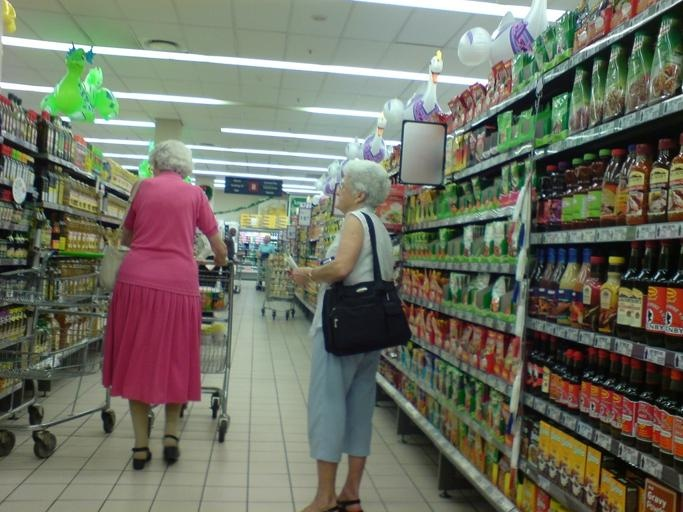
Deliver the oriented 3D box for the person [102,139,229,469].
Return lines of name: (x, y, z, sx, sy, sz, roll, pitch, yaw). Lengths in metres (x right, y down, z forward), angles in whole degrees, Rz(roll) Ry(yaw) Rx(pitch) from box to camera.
person: (-1.201, 0.289, 3.514, 0.811, 2.040, 0.738, 4, -5, -36)

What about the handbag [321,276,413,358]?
handbag: (0.114, 0.301, 2.759, 0.462, 0.502, 0.261, -5, -15, -11)

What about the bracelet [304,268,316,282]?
bracelet: (-0.175, 0.101, 2.800, 0.052, 0.069, 0.065, -3, 47, 4)

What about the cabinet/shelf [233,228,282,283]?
cabinet/shelf: (-3.969, -0.081, 23.293, 2.435, 2.618, 0.943, 2, -6, -36)

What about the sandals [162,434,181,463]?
sandals: (-1.131, 1.284, 3.336, 0.074, 0.097, 0.215, 0, 3, -7)

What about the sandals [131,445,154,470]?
sandals: (-1.290, 1.294, 3.227, 0.064, 0.080, 0.191, 0, 2, -6)

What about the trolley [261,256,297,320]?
trolley: (-1.318, 0.678, 11.124, 0.720, 1.312, 0.922, 4, 2, -1)

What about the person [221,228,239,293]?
person: (-3.259, 0.172, 15.031, 0.479, 2.071, 0.500, -2, 16, -18)
